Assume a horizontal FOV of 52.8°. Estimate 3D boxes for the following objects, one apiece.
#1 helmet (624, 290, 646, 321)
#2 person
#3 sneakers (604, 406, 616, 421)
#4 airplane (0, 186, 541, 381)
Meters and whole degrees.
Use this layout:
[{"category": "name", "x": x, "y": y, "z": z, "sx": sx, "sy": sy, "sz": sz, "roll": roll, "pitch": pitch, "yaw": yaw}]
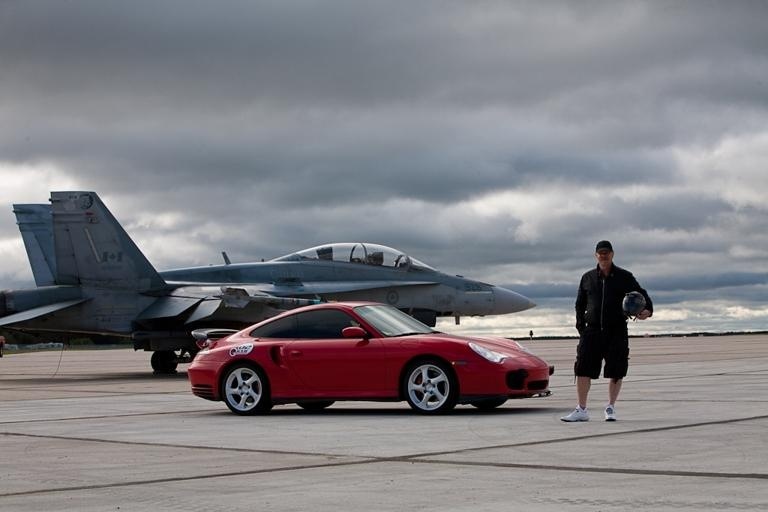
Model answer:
[{"category": "helmet", "x": 3.507, "y": 0.671, "z": 10.790, "sx": 0.321, "sy": 0.361, "sz": 0.286, "roll": -2, "pitch": 1, "yaw": 11}, {"category": "person", "x": 3.097, "y": 1.035, "z": 10.877, "sx": 1.091, "sy": 2.487, "sz": 1.204, "roll": -1, "pitch": 1, "yaw": 35}, {"category": "sneakers", "x": 3.122, "y": 2.146, "z": 10.561, "sx": 0.151, "sy": 0.131, "sz": 0.354, "roll": -1, "pitch": -4, "yaw": 3}, {"category": "airplane", "x": -4.381, "y": 1.026, "z": 24.465, "sx": 12.440, "sy": 3.125, "sz": 8.162, "roll": 0, "pitch": 0, "yaw": -10}]
